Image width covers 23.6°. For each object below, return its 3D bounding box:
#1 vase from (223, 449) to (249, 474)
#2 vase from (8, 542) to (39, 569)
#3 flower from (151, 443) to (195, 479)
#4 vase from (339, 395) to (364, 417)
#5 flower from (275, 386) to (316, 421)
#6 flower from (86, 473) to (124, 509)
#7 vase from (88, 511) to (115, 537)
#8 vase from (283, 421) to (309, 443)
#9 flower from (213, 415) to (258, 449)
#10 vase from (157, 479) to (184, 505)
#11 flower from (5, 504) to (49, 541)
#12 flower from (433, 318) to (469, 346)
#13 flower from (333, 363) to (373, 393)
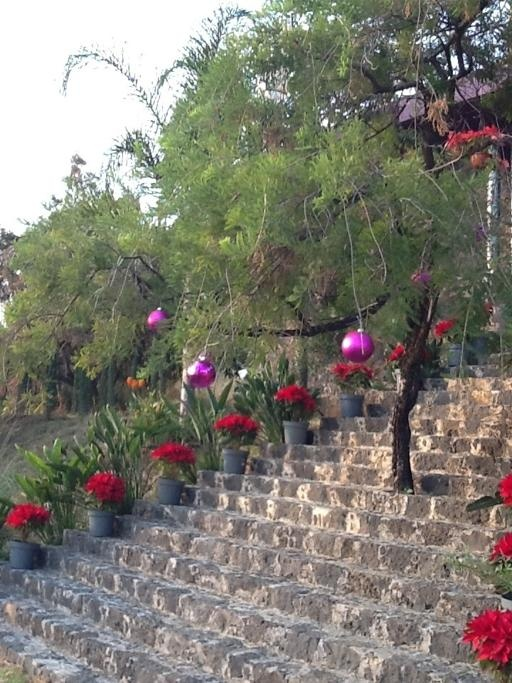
[{"bbox_3d":[-0.192,1.062,10.695,0.176,0.182,0.187,-8,-14,40],"label":"vase"},{"bbox_3d":[-1.895,1.743,9.850,0.217,0.228,0.155,6,-16,-7],"label":"vase"},{"bbox_3d":[-0.713,0.991,10.410,0.309,0.382,0.341,2,3,23],"label":"flower"},{"bbox_3d":[0.908,0.621,11.705,0.166,0.177,0.200,2,-12,-7],"label":"vase"},{"bbox_3d":[0.338,0.565,11.191,0.274,0.409,0.318,-4,6,-21],"label":"flower"},{"bbox_3d":[-1.264,1.201,10.111,0.243,0.355,0.270,0,6,-16],"label":"flower"},{"bbox_3d":[-1.287,1.496,10.011,0.165,0.176,0.201,1,-12,-2],"label":"vase"},{"bbox_3d":[0.348,0.833,11.095,0.160,0.171,0.195,1,-12,-2],"label":"vase"},{"bbox_3d":[-0.184,0.774,10.586,0.260,0.305,0.297,-1,0,28],"label":"flower"},{"bbox_3d":[-0.737,1.274,10.297,0.166,0.179,0.200,5,-13,-16],"label":"vase"},{"bbox_3d":[-1.842,1.420,9.839,0.252,0.366,0.299,4,6,14],"label":"flower"},{"bbox_3d":[1.642,-0.081,10.367,0.172,0.145,0.253,9,7,-13],"label":"flower"},{"bbox_3d":[0.907,0.360,12.159,0.283,0.271,0.287,1,-2,-19],"label":"flower"}]
